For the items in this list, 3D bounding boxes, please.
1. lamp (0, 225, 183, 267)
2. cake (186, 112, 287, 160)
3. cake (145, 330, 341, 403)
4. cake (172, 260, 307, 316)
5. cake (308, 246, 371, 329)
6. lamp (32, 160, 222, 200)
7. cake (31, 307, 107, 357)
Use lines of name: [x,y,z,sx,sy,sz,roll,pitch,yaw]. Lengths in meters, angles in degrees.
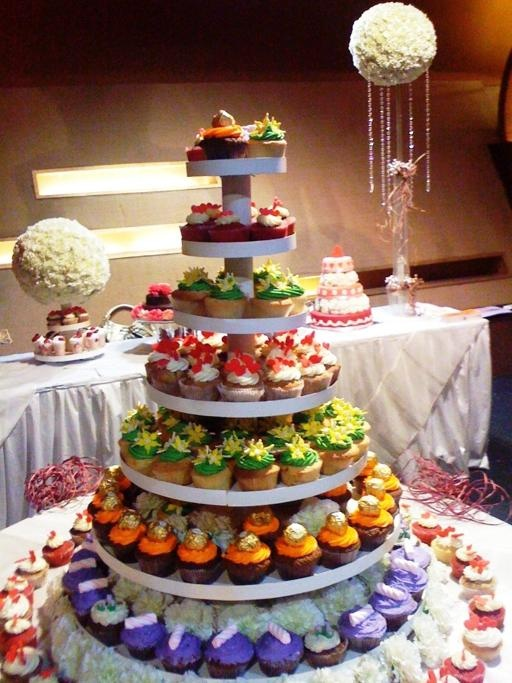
lamp: [-1.277,-0.747,4.304,1.370,0.343,0.174,-4,11,-19]
cake: [-0.053,-0.550,1.546,0.270,0.104,0.176,-5,27,-10]
cake: [-0.050,0.060,1.686,0.583,0.147,0.496,2,10,13]
cake: [-0.050,-0.150,1.608,0.392,0.149,0.275,-2,10,-8]
cake: [0.401,-0.343,3.406,0.500,0.457,0.462,-2,16,2]
lamp: [-1.011,-1.248,4.277,1.379,0.317,0.155,-3,11,-18]
cake: [-1.017,-0.065,3.042,0.340,0.322,0.315,0,5,4]
